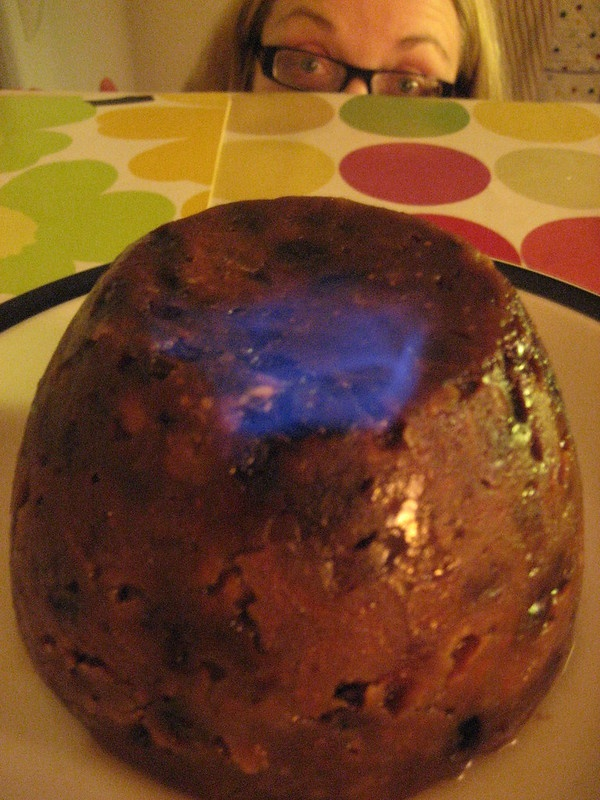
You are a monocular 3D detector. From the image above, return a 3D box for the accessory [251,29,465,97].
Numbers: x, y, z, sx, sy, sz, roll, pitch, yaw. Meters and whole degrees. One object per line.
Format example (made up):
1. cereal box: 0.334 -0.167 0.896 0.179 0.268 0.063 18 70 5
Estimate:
1. accessory: 0.160 -0.849 2.039 0.486 0.096 0.398 8 37 0
